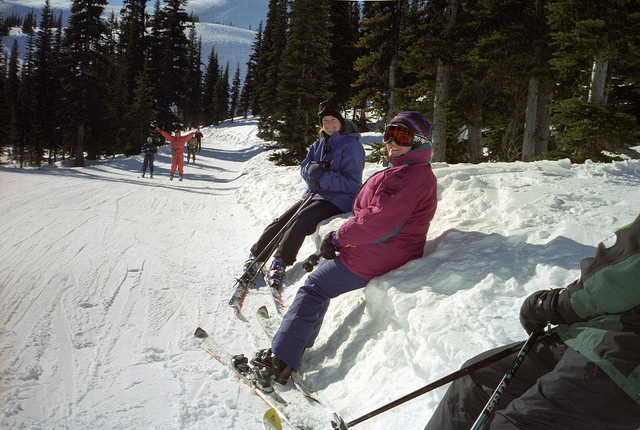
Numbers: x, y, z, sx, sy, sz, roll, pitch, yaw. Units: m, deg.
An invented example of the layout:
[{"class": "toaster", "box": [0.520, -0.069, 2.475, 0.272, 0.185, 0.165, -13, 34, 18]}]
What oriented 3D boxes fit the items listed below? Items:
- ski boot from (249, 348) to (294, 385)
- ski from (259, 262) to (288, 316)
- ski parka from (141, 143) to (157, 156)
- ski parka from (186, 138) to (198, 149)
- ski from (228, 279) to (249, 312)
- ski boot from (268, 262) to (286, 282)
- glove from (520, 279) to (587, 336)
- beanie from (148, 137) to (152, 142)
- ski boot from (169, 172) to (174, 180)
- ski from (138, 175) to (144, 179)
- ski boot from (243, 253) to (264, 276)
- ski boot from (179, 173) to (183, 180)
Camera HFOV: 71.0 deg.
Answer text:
[{"class": "ski boot", "box": [-0.678, 2.094, 6.226, 0.596, 0.435, 0.179, 8, 9, 22]}, {"class": "ski", "box": [-0.832, 1.396, 7.880, 0.262, 0.156, 1.859, -29, 29, -2]}, {"class": "ski parka", "box": [-7.272, -2.802, 19.171, 0.489, 0.522, 0.586, 0, 9, -24]}, {"class": "ski parka", "box": [-7.538, -4.204, 26.406, 0.437, 0.632, 0.910, 0, 9, -24]}, {"class": "ski", "box": [-1.407, 1.387, 7.838, 0.170, 0.128, 0.555, 25, 30, -7]}, {"class": "ski boot", "box": [-0.819, 1.046, 8.209, 0.264, 0.317, 0.324, 24, -21, -1]}, {"class": "glove", "box": [2.228, 0.911, 4.410, 0.393, 0.259, 0.625, -28, 1, -40]}, {"class": "beanie", "box": [-7.273, -3.222, 19.174, 0.124, 0.143, 0.149, 4, -6, 0]}, {"class": "ski boot", "box": [-6.089, -1.584, 18.410, 0.151, 0.326, 0.368, 4, 8, -6]}, {"class": "ski", "box": [-7.638, -1.612, 19.115, 0.241, 0.087, 0.232, 2, 2, -25]}, {"class": "ski boot", "box": [-1.260, 0.953, 8.316, 0.197, 0.545, 0.247, 38, 29, -16]}, {"class": "ski boot", "box": [-5.689, -1.574, 18.398, 0.099, 0.266, 0.249, 1, 9, -23]}]
